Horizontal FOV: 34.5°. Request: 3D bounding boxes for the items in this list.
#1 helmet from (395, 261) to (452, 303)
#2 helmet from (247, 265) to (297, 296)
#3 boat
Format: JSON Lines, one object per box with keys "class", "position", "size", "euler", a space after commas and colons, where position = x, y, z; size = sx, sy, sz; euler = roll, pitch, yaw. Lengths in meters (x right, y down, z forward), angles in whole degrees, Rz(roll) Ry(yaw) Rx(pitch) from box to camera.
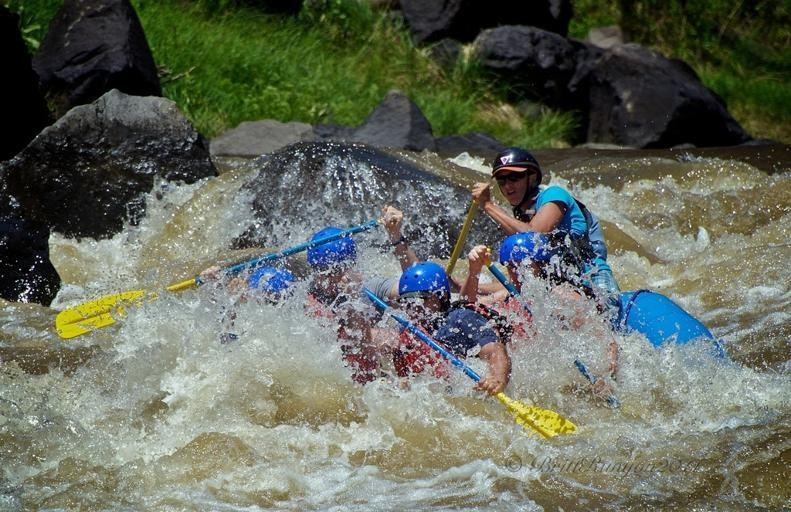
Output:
{"class": "helmet", "position": [0.368, 0.383, 16.595], "size": [0.574, 0.422, 0.487], "euler": [17, 68, -31]}
{"class": "helmet", "position": [-1.647, 0.344, 17.051], "size": [0.628, 0.197, 0.435], "euler": [21, 69, 13]}
{"class": "boat", "position": [3.543, 1.068, 16.499], "size": [0.488, 0.728, 1.477], "euler": [-57, 44, 9]}
